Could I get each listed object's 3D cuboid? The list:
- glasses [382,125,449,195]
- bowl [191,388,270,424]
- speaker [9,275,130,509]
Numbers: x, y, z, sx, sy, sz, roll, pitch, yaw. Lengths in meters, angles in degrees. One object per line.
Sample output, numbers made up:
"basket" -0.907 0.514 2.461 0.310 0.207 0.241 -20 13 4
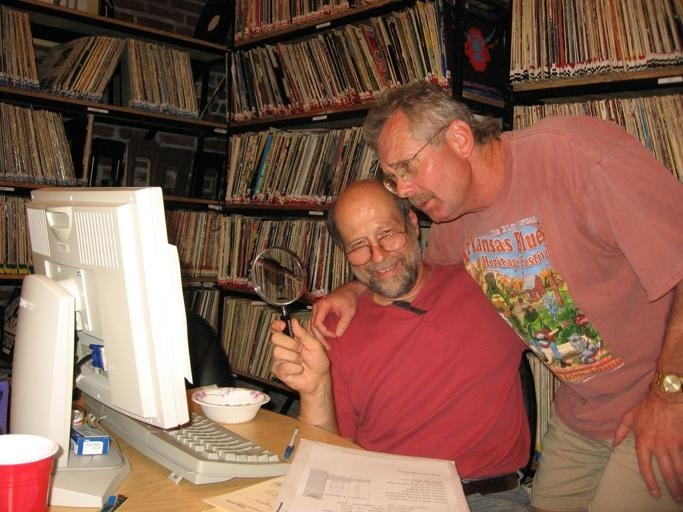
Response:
"glasses" 0.259 -0.352 1.796 0.234 0.067 0.173 -40 7 -26
"bowl" -0.347 0.455 1.574 0.233 0.069 0.233 3 1 0
"speaker" -0.620 0.304 1.164 0.267 0.457 0.453 -1 8 -32
